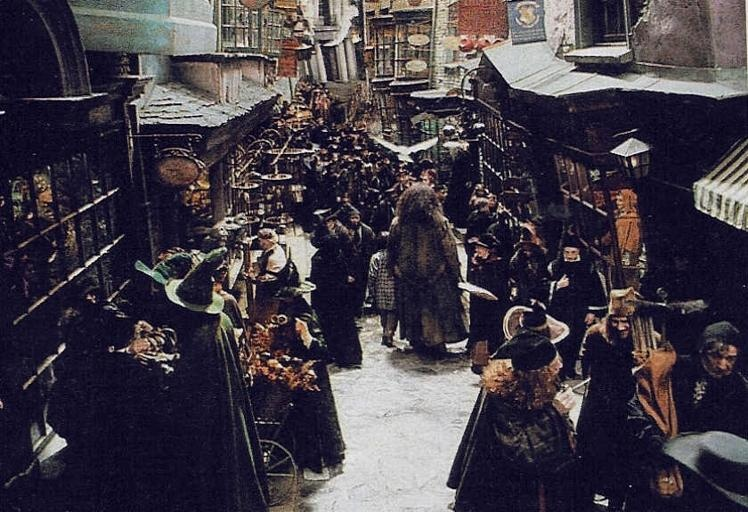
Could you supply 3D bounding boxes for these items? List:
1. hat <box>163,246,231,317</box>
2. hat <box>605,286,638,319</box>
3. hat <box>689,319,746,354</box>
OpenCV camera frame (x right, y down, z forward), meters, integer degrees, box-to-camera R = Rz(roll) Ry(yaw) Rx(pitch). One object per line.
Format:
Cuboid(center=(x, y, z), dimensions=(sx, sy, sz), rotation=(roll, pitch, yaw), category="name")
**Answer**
Cuboid(center=(-1.624, 0.242, 6.487), dimensions=(0.556, 0.634, 0.283), rotation=(-6, 15, -16), category="hat")
Cuboid(center=(2.541, 0.489, 7.350), dimensions=(0.354, 0.335, 0.289), rotation=(-1, -5, 2), category="hat")
Cuboid(center=(3.448, 0.795, 7.145), dimensions=(0.344, 0.241, 0.348), rotation=(-1, 2, 29), category="hat")
